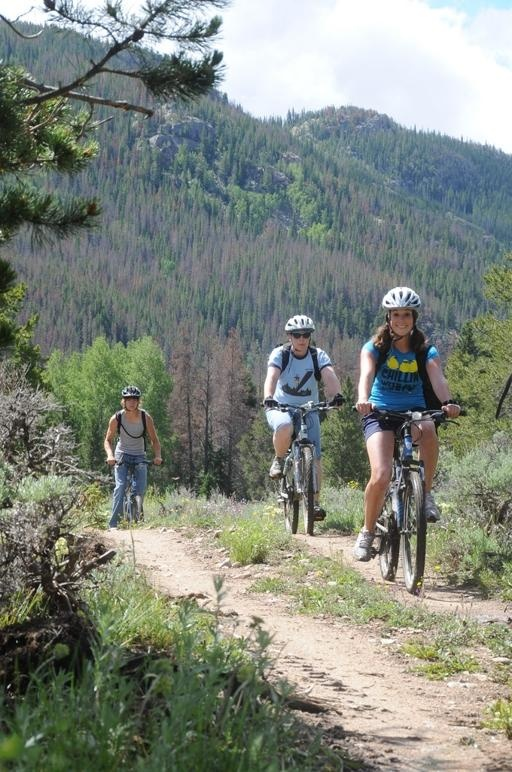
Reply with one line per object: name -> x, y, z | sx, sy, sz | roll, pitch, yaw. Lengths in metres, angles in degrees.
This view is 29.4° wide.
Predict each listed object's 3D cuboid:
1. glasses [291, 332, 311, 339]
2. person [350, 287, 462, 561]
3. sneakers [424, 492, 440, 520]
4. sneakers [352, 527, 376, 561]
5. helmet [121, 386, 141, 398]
glasses -> 0.503, -0.528, 10.356 | 0.219, 0.061, 0.147 | 4, 1, -18
person -> 1.176, 0.359, 7.815 | 0.745, 2.260, 0.979 | 3, 0, 6
sneakers -> 1.307, 0.927, 7.272 | 0.070, 0.192, 0.244 | -4, -20, 2
sneakers -> 0.894, 1.274, 7.969 | 0.103, 0.149, 0.352 | 11, 21, 3
helmet -> -1.594, 0.092, 12.474 | 0.161, 0.117, 0.256 | 2, -4, -8
